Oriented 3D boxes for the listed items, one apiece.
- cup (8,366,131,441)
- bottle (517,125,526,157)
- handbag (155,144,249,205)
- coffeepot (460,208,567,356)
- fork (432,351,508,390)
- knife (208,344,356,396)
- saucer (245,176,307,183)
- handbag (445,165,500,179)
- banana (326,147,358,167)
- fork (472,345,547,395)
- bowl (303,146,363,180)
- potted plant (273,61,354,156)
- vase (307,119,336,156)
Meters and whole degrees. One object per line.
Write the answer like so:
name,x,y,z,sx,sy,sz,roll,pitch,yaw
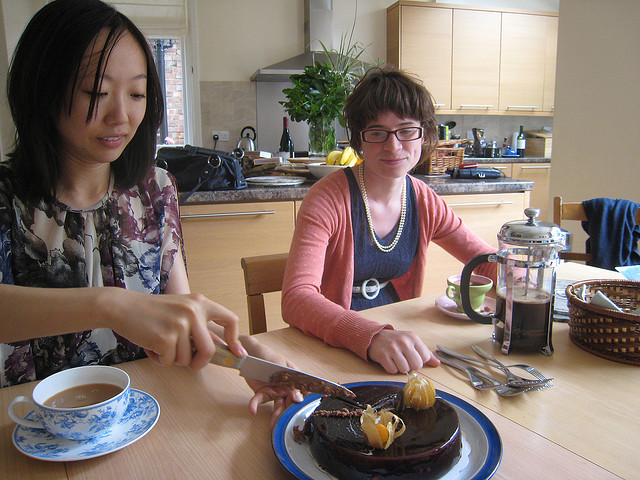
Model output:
cup,-0.399,0.260,0.768,0.151,0.072,0.121,-3,18,-19
bottle,2.429,-1.222,5.779,0.102,0.362,0.298,5,12,24
handbag,-0.613,-0.355,2.473,0.468,0.173,0.475,-1,11,12
coffeepot,0.414,0.081,1.039,0.129,0.311,0.185,-7,13,-34
fork,0.294,0.244,0.957,0.033,0.024,0.191,-5,9,-19
knife,-0.081,0.252,0.905,0.286,0.043,0.024,17,13,5
saucer,-0.254,-0.335,2.615,0.303,0.028,0.253,4,11,15
handbag,0.915,-0.416,2.918,0.329,0.066,0.194,5,12,19
banana,0.111,-0.441,2.573,0.138,0.075,0.190,3,12,9
fork,0.368,0.242,0.956,0.032,0.032,0.218,-4,10,-10
bowl,0.058,-0.407,2.489,0.267,0.074,0.266,-10,24,4
potted plant,-0.072,-0.816,3.127,0.397,0.517,0.500,-5,12,10
vase,0.001,-0.699,3.204,0.187,0.301,0.176,1,12,17
